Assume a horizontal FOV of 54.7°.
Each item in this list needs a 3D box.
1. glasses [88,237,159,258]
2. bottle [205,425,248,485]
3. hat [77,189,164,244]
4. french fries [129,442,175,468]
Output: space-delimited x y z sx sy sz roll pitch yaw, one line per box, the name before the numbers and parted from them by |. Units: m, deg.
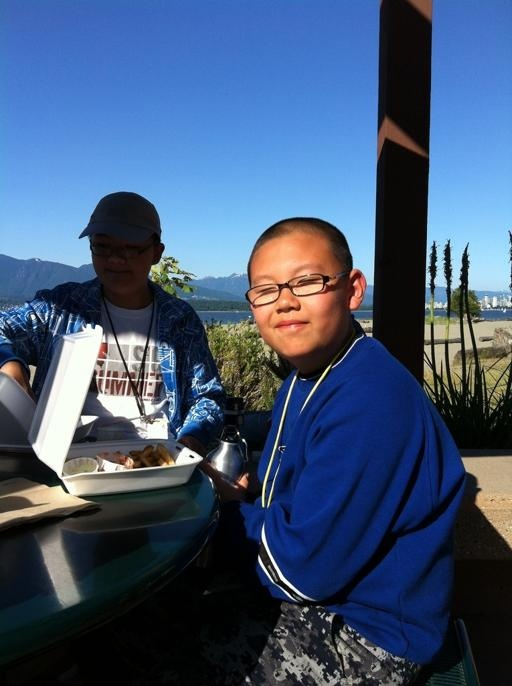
glasses | -0.548 -0.383 2.009 0.236 0.070 0.075 7 3 -21
bottle | -0.108 0.442 1.942 0.154 0.226 0.143 10 6 -1
hat | -0.562 -0.526 2.088 0.300 0.206 0.398 5 11 11
french fries | -0.254 0.266 1.190 0.079 0.025 0.056 2 3 11
